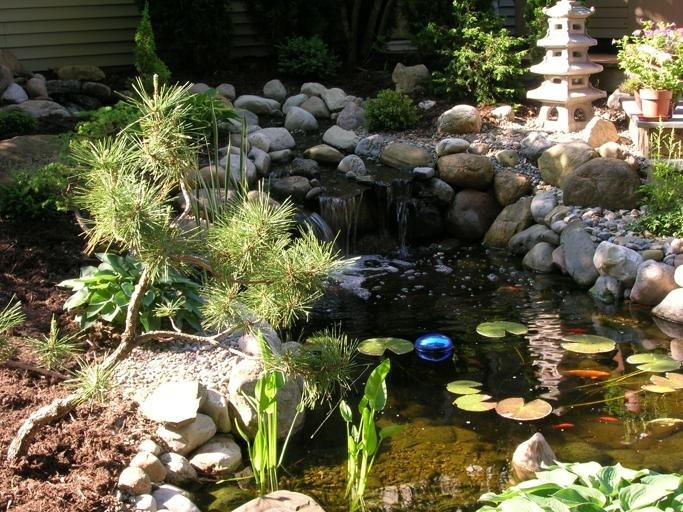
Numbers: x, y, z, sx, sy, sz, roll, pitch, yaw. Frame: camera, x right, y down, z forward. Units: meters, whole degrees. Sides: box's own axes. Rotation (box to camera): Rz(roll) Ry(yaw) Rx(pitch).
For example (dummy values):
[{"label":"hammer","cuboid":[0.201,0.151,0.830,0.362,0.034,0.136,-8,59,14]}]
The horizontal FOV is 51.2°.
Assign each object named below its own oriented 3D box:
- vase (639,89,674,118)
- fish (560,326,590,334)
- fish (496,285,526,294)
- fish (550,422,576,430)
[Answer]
[{"label":"vase","cuboid":[3.575,-1.721,8.132,0.423,0.277,0.391,0,5,3]},{"label":"fish","cuboid":[2.108,0.677,6.444,0.236,0.027,0.137,-2,27,0]},{"label":"fish","cuboid":[1.732,0.346,7.299,0.274,0.014,0.192,0,27,4]},{"label":"fish","cuboid":[1.617,1.252,5.210,0.185,0.051,0.068,1,56,8]}]
